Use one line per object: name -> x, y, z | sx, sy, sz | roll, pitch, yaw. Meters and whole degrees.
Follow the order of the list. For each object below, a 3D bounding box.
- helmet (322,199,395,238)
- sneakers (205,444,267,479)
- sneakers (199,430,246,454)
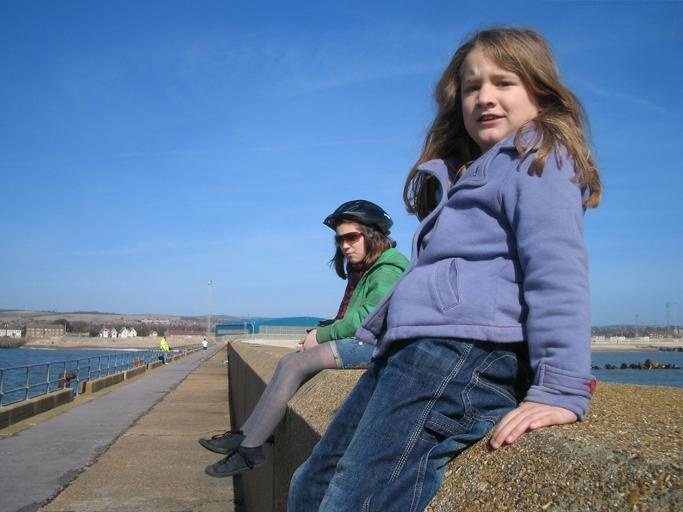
helmet -> 0.101, -0.188, 3.578 | 0.414, 0.226, 0.319 | 14, -16, -9
sneakers -> -0.517, 1.059, 2.774 | 0.332, 0.156, 0.125 | -1, 15, -35
sneakers -> -0.612, 0.990, 2.881 | 0.221, 0.096, 0.122 | 10, 20, -41
